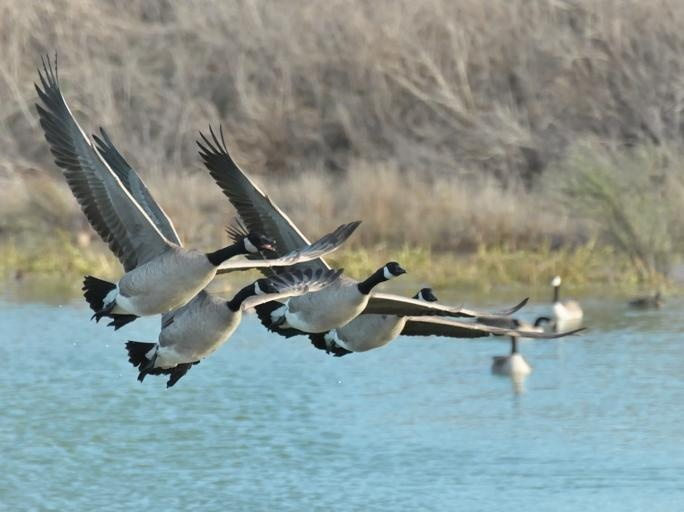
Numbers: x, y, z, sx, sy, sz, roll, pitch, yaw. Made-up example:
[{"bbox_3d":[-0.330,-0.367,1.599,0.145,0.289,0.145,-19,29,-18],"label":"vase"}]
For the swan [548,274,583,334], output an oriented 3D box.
[{"bbox_3d":[3.926,0.899,25.682,0.735,1.169,0.623,2,5,4],"label":"swan"}]
